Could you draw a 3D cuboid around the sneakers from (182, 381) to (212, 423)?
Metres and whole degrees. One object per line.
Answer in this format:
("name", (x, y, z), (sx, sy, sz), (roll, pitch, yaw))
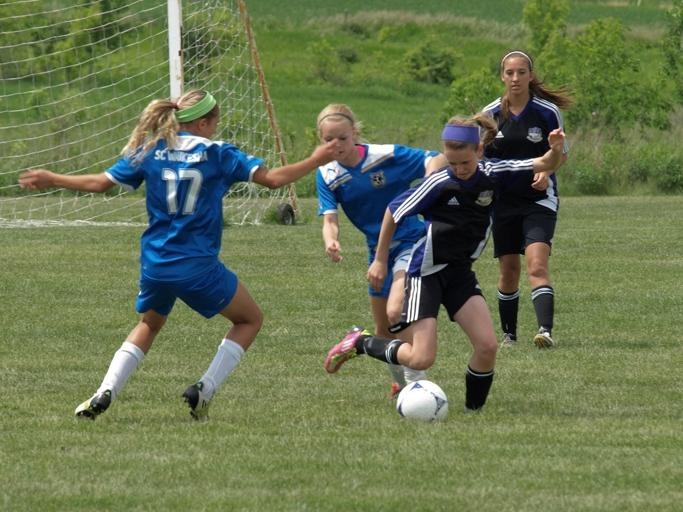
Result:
("sneakers", (-1.367, 1.384, 12.945), (0.168, 0.446, 0.221), (-6, 14, 33))

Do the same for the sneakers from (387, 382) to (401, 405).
("sneakers", (0.529, 1.364, 13.268), (0.198, 0.225, 0.567), (0, -5, -2))

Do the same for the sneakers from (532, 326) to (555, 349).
("sneakers", (2.156, 0.879, 14.300), (0.129, 0.131, 0.304), (2, -14, 19))

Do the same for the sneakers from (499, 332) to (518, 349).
("sneakers", (1.796, 0.905, 14.393), (0.158, 0.174, 0.442), (-2, -4, 15))

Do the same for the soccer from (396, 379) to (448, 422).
("soccer", (0.781, 1.387, 13.013), (0.428, 0.382, 0.419), (33, 17, 28))
